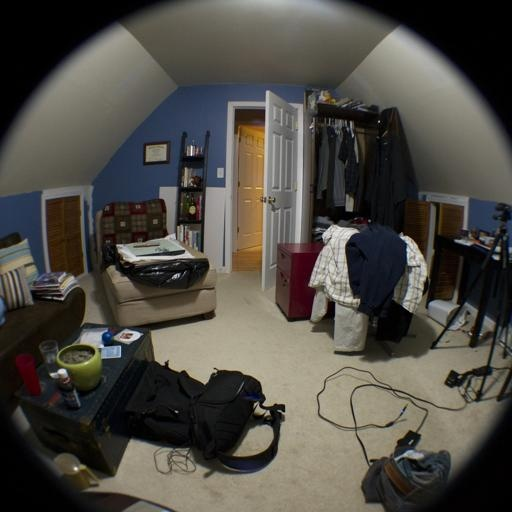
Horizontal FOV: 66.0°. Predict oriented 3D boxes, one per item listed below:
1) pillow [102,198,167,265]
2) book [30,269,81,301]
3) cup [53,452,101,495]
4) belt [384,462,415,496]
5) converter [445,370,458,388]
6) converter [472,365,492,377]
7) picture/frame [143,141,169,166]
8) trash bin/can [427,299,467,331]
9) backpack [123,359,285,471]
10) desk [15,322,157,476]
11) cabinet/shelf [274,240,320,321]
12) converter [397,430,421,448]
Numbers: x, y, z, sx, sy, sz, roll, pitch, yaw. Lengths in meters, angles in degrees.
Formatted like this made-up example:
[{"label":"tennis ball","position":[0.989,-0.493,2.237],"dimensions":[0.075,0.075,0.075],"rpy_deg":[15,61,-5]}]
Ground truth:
[{"label":"pillow","position":[-0.991,-0.194,3.210],"dimensions":[0.429,0.554,0.140],"rpy_deg":[-4,-1,-26]},{"label":"book","position":[-1.121,0.159,2.217],"dimensions":[0.144,0.074,0.162],"rpy_deg":[6,10,-15]},{"label":"cup","position":[-0.618,0.746,1.376],"dimensions":[0.199,0.087,0.073],"rpy_deg":[25,19,31]},{"label":"belt","position":[0.471,0.743,1.316],"dimensions":[0.075,0.028,0.057],"rpy_deg":[52,7,35]},{"label":"converter","position":[0.971,0.614,1.961],"dimensions":[0.046,0.020,0.078],"rpy_deg":[8,44,39]},{"label":"converter","position":[1.135,0.585,1.987],"dimensions":[0.108,0.033,0.074],"rpy_deg":[-6,7,-16]},{"label":"picture/frame","position":[-0.953,-1.002,3.792],"dimensions":[0.176,0.181,0.014],"rpy_deg":[1,2,5]},{"label":"trash bin/can","position":[1.284,0.400,2.649],"dimensions":[0.154,0.185,0.220],"rpy_deg":[20,3,-17]},{"label":"backpack","position":[-0.247,0.619,1.571],"dimensions":[0.389,0.168,0.366],"rpy_deg":[15,31,10]},{"label":"desk","position":[-0.650,0.579,1.508],"dimensions":[0.281,0.312,0.494],"rpy_deg":[4,38,4]},{"label":"cabinet/shelf","position":[0.310,0.160,2.793],"dimensions":[0.306,0.456,0.403],"rpy_deg":[1,10,-2]},{"label":"converter","position":[0.600,0.729,1.570],"dimensions":[0.116,0.036,0.067],"rpy_deg":[-8,10,-44]}]
